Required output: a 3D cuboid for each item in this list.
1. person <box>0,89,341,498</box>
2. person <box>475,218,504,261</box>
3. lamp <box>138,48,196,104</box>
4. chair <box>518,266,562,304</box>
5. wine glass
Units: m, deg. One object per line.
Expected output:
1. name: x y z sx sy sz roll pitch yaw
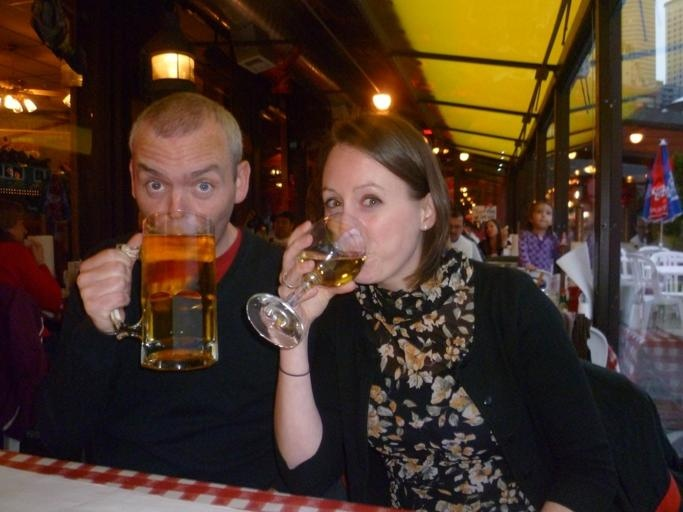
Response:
1. person: -0.584 0.341 2.113 1.084 1.816 0.942 -1 -6 4
2. person: 2.814 -0.126 10.221 0.444 1.138 0.453 5 -39 12
3. lamp: -1.495 -1.602 4.854 0.390 0.440 0.392 -3 4 -17
4. chair: 1.176 0.168 3.226 0.256 0.231 0.227 9 -17 -13
5. wine glass: -0.113 0.111 1.970 0.250 0.235 0.499 30 54 33
